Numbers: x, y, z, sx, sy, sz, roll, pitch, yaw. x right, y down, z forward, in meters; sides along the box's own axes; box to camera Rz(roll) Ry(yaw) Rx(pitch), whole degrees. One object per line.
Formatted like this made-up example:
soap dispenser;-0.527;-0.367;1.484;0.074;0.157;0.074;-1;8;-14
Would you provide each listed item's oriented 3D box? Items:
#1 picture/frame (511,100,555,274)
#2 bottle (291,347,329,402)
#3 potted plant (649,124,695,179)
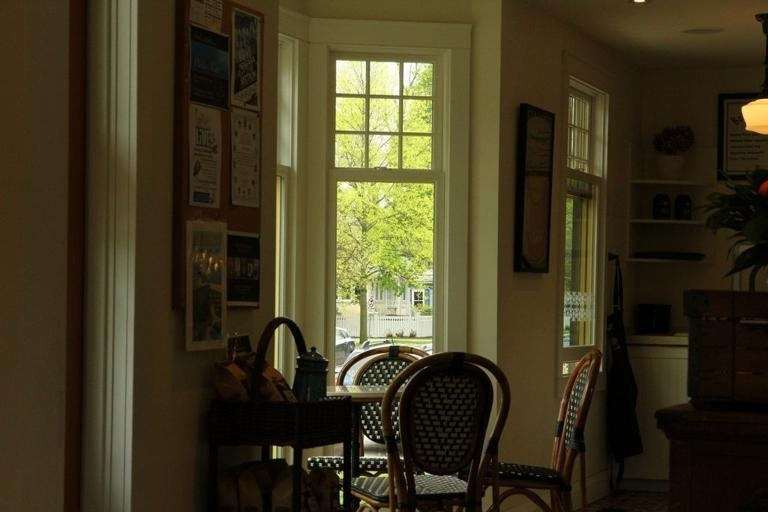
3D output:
picture/frame;1.096;-0.485;4.762;0.413;1.202;0.105;1;-2;-43
bottle;-0.333;0.538;2.949;0.156;0.230;0.216;-1;-2;-9
potted plant;2.639;-0.942;5.927;0.408;0.556;0.369;2;-10;1
